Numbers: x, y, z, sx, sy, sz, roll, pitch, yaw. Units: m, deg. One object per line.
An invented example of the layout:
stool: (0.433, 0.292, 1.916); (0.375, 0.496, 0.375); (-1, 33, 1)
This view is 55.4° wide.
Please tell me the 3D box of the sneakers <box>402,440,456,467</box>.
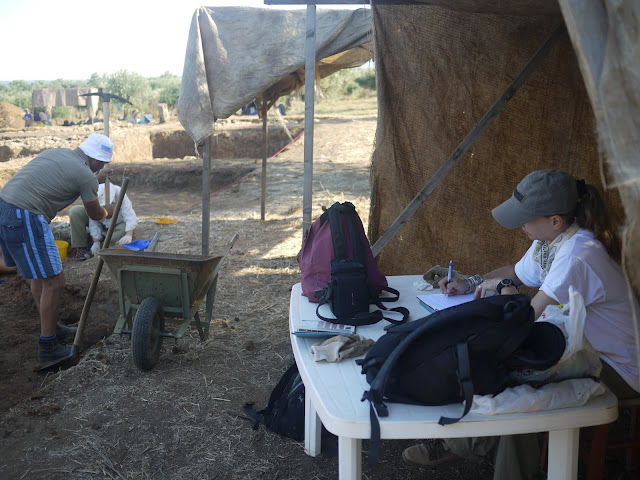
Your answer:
sneakers: (0.758, 1.493, 4.296); (0.391, 0.172, 0.150); (-1, 34, -11)

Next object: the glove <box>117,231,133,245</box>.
glove: (-2.590, -0.004, 8.189); (0.130, 0.059, 0.228); (5, 28, 3)

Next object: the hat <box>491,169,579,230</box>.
hat: (1.279, -0.253, 3.664); (0.425, 0.254, 0.298); (-12, 37, 17)

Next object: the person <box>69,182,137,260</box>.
person: (-2.659, -0.188, 7.418); (0.806, 1.059, 0.753); (8, 10, 20)

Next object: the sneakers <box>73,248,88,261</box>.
sneakers: (-3.470, 0.211, 8.792); (0.140, 0.193, 0.410); (-3, 0, -36)

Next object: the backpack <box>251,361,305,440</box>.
backpack: (-0.377, 1.193, 4.617); (0.485, 0.533, 0.410); (9, 29, -17)

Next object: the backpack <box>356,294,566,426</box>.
backpack: (0.746, 0.572, 3.302); (0.858, 0.434, 0.674); (-13, -2, -2)

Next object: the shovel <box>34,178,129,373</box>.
shovel: (-2.470, 0.420, 6.345); (0.341, 2.171, 0.278); (14, -5, -3)

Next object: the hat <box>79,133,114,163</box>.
hat: (-2.078, -0.884, 5.790); (0.288, 0.184, 0.275); (28, 17, -2)

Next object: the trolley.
trolley: (-1.448, 0.543, 5.993); (1.029, 1.117, 1.890); (3, 4, 3)
